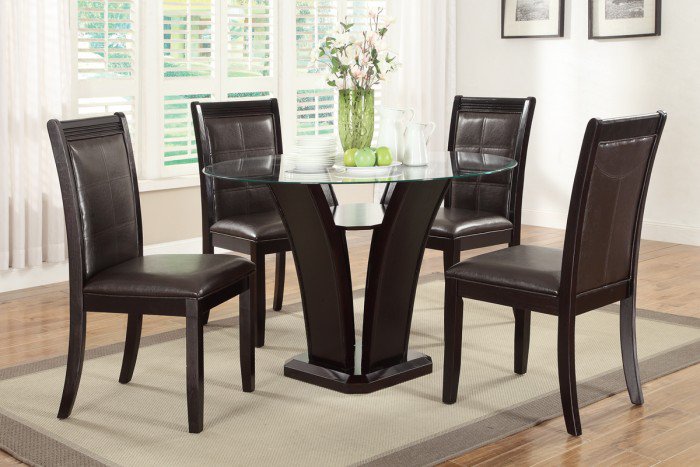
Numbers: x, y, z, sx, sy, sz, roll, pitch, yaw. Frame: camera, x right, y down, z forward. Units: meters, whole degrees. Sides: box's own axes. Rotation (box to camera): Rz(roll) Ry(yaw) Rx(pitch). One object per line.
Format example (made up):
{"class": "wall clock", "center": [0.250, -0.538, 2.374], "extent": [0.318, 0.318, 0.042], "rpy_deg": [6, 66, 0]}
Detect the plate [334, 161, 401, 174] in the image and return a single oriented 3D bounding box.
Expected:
{"class": "plate", "center": [0.074, -0.264, 2.266], "extent": [0.286, 0.036, 0.297], "rpy_deg": [0, 12, 2]}

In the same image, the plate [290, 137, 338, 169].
{"class": "plate", "center": [-0.156, -0.377, 2.450], "extent": [0.180, 0.098, 0.172], "rpy_deg": [-6, 13, -22]}
